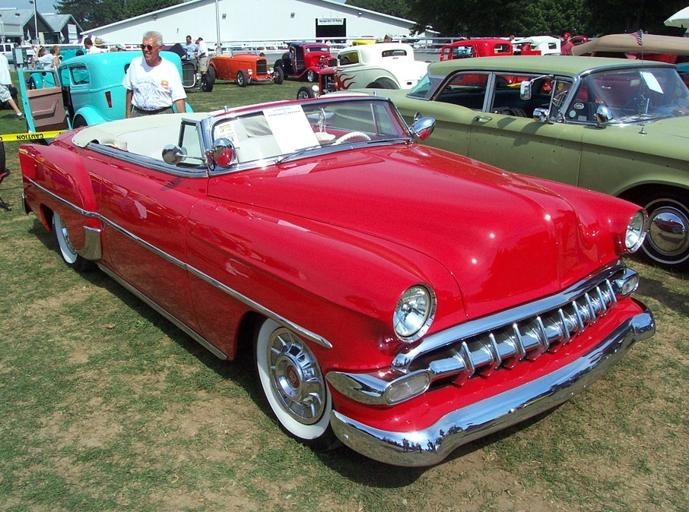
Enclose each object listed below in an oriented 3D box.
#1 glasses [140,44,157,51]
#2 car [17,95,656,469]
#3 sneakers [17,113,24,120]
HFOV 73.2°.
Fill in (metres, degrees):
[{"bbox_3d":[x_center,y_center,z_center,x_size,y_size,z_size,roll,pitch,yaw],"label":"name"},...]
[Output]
[{"bbox_3d":[-2.583,-2.690,6.078,0.133,0.034,0.118,13,11,-6],"label":"glasses"},{"bbox_3d":[-0.707,-0.250,3.353,4.275,1.126,2.447,23,37,34],"label":"car"},{"bbox_3d":[-8.695,-3.685,12.401,0.166,0.152,0.470,-18,21,-39],"label":"sneakers"}]
